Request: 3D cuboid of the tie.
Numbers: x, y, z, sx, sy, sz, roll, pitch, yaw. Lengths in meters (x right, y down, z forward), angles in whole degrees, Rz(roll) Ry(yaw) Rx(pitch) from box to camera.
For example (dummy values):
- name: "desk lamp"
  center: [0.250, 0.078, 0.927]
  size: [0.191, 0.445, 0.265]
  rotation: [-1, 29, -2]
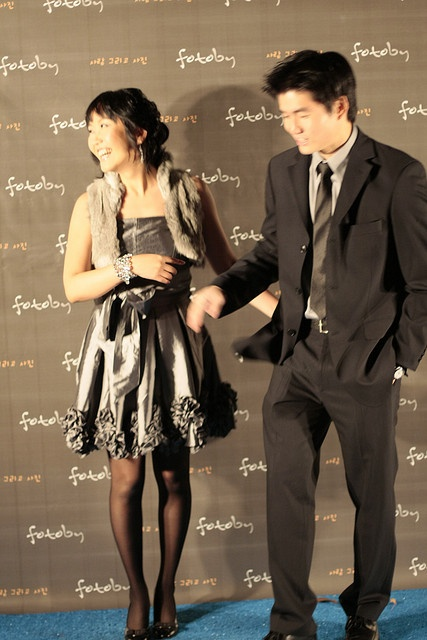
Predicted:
- name: "tie"
  center: [0.300, -0.216, 1.787]
  size: [0.071, 0.434, 0.068]
  rotation: [-9, 7, -44]

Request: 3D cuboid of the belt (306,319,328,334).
- name: "belt"
  center: [0.286, 0.016, 1.786]
  size: [0.049, 0.028, 0.063]
  rotation: [0, 1, -2]

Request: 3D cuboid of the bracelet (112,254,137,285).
- name: "bracelet"
  center: [-0.267, -0.153, 1.892]
  size: [0.070, 0.070, 0.023]
  rotation: [5, 2, 15]
